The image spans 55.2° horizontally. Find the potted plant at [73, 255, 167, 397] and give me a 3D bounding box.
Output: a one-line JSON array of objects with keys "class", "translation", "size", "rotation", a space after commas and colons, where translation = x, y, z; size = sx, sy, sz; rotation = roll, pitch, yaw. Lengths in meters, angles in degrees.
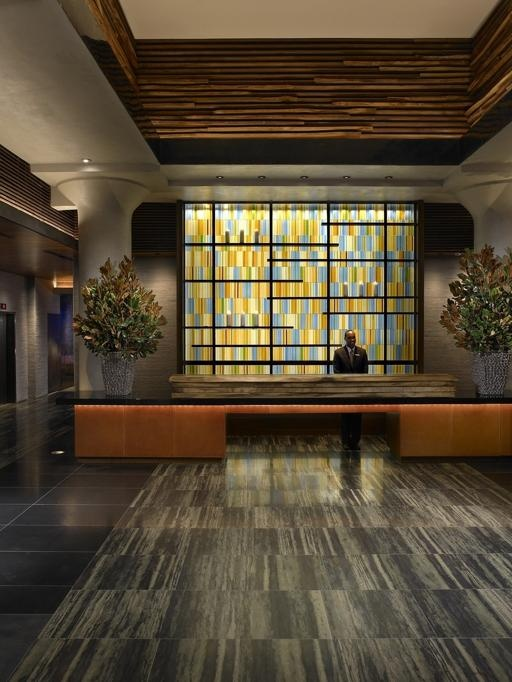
[{"class": "potted plant", "translation": [-1.507, -0.179, 5.385], "size": [0.939, 1.572, 0.484], "rotation": [1, -3, -22]}]

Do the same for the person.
[{"class": "person", "translation": [1.164, 0.592, 6.010], "size": [0.390, 1.426, 0.481], "rotation": [0, -2, 9]}]
